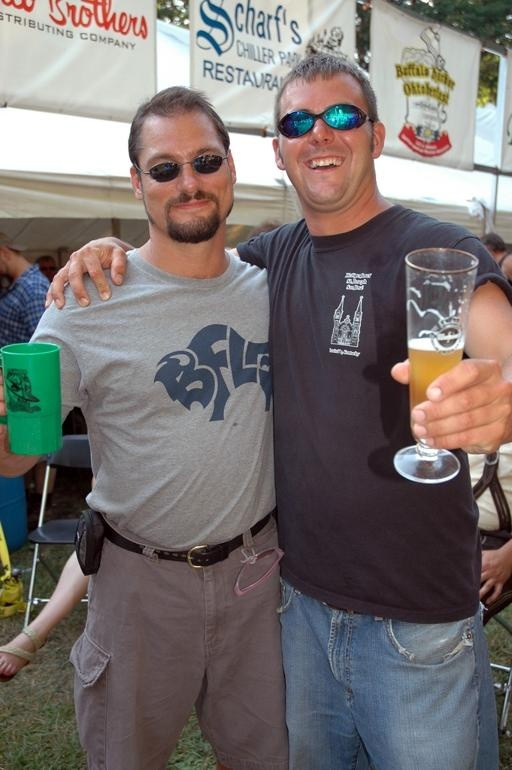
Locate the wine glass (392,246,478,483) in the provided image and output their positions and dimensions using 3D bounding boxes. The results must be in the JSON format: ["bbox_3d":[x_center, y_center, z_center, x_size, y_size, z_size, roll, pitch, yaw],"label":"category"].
[{"bbox_3d":[0.319,-0.027,1.179,0.132,0.406,0.223,3,21,17],"label":"wine glass"}]
